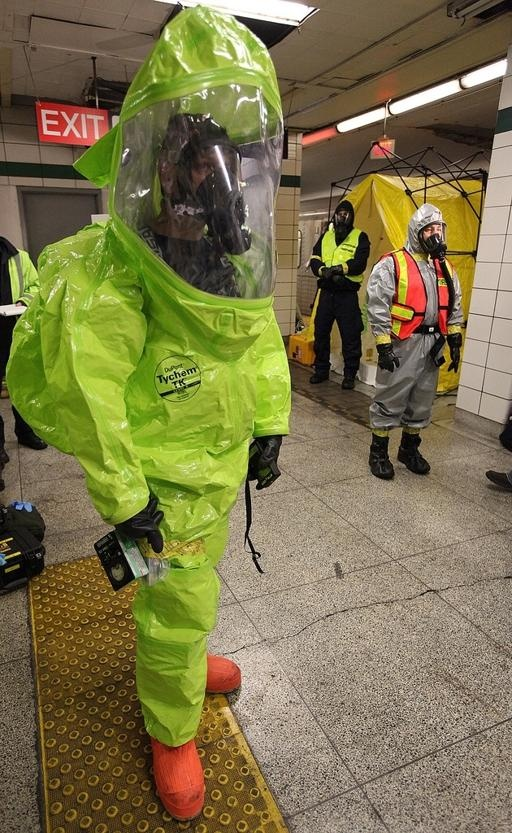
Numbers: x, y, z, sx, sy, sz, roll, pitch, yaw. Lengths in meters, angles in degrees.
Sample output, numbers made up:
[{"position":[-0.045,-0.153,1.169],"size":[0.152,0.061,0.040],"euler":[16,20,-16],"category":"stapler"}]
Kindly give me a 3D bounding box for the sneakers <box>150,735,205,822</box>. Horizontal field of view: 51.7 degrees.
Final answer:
[{"position":[-0.187,0.905,1.313],"size":[0.073,0.092,0.222],"euler":[-2,1,-15],"category":"sneakers"}]

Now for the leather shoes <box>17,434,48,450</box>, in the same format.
[{"position":[-1.603,0.198,3.853],"size":[0.243,0.103,0.094],"euler":[5,17,11],"category":"leather shoes"}]

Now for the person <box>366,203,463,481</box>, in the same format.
[{"position":[0.987,-0.442,3.304],"size":[0.685,1.641,0.368],"euler":[-3,18,-20],"category":"person"}]

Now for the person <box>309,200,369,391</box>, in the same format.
[{"position":[0.847,-1.266,5.531],"size":[0.649,1.850,0.484],"euler":[12,19,26],"category":"person"}]

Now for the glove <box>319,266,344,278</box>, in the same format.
[{"position":[0.753,-1.464,5.315],"size":[0.271,0.132,0.116],"euler":[16,21,33],"category":"glove"}]

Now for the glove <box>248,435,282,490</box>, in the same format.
[{"position":[0.051,0.130,1.511],"size":[0.052,0.136,0.129],"euler":[0,11,-37],"category":"glove"}]

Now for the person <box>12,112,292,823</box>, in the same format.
[{"position":[-0.241,0.156,1.271],"size":[0.705,1.624,0.497],"euler":[1,17,-7],"category":"person"}]
